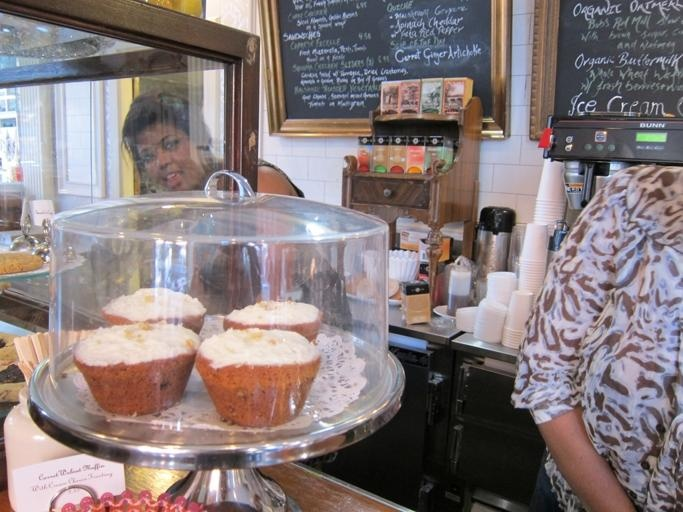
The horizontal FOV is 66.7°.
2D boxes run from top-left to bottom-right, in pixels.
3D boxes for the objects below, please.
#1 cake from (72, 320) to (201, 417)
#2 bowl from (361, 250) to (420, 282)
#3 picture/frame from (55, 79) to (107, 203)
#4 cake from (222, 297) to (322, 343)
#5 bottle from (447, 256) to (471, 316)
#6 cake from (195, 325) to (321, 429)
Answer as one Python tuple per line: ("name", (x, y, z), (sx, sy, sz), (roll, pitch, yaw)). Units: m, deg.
("cake", (-0.305, 0.140, 0.772), (0.150, 0.097, 0.152), (1, 9, -11))
("bowl", (0.223, 0.040, 2.288), (0.190, 0.093, 0.190), (2, 3, 0))
("picture/frame", (-0.502, -0.225, 1.000), (0.095, 0.217, 0.046), (-6, 14, -28))
("cake", (-0.114, 0.094, 0.881), (0.097, 0.049, 0.096), (2, -2, 9))
("bottle", (0.492, 0.117, 2.155), (0.099, 0.209, 0.266), (4, 12, 15))
("cake", (-0.130, 0.183, 0.844), (0.152, 0.103, 0.148), (3, 0, 5))
